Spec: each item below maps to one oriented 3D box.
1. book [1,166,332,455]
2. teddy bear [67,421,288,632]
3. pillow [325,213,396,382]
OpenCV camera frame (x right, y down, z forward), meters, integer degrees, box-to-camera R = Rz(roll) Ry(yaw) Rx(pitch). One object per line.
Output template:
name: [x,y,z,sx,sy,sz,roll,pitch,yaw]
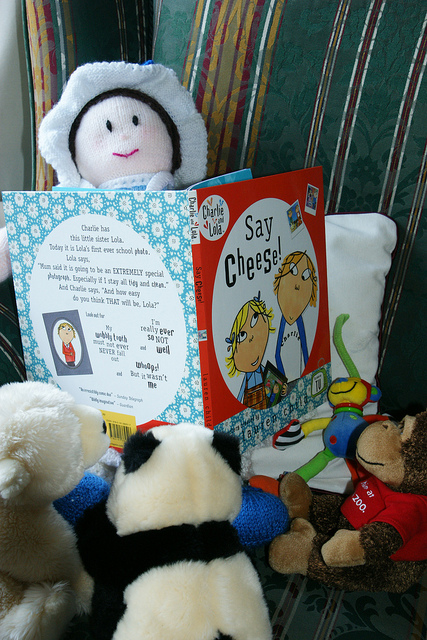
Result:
book: [-0.052,-0.030,0.881,0.393,0.373,0.410,-1,10,37]
teddy bear: [-0.038,0.194,0.506,0.153,0.146,0.169,-4,32,-16]
pillow: [0.216,-0.041,0.904,0.117,0.219,0.155,10,31,7]
